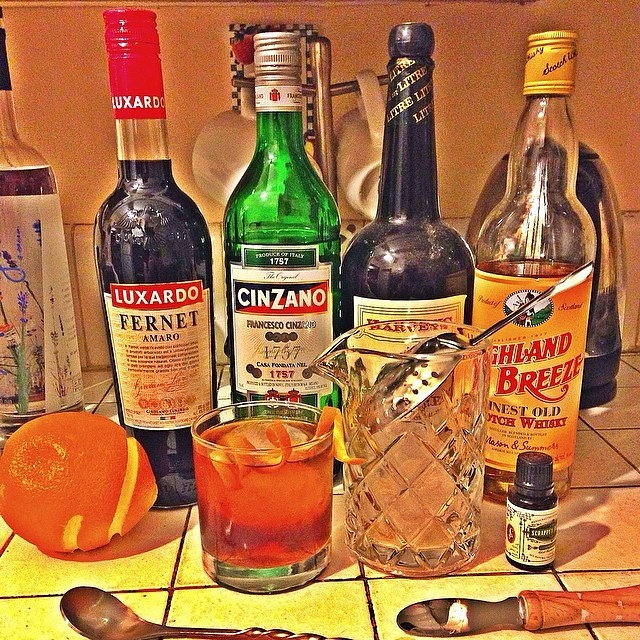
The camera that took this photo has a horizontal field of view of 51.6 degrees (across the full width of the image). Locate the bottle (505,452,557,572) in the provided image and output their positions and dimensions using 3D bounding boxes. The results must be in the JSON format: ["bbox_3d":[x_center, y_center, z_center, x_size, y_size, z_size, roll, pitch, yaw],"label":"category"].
[{"bbox_3d":[0.164,0.153,0.522,0.032,0.095,0.032,-1,20,0],"label":"bottle"}]

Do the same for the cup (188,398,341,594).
[{"bbox_3d":[-0.038,0.135,0.578,0.153,0.123,0.114,-7,14,-32],"label":"cup"}]

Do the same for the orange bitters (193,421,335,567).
[{"bbox_3d":[-0.042,0.143,0.546,0.119,0.090,0.113,4,-7,-38],"label":"orange bitters"}]

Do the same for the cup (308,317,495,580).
[{"bbox_3d":[0.069,0.112,0.577,0.158,0.184,0.121,-2,7,3],"label":"cup"}]
